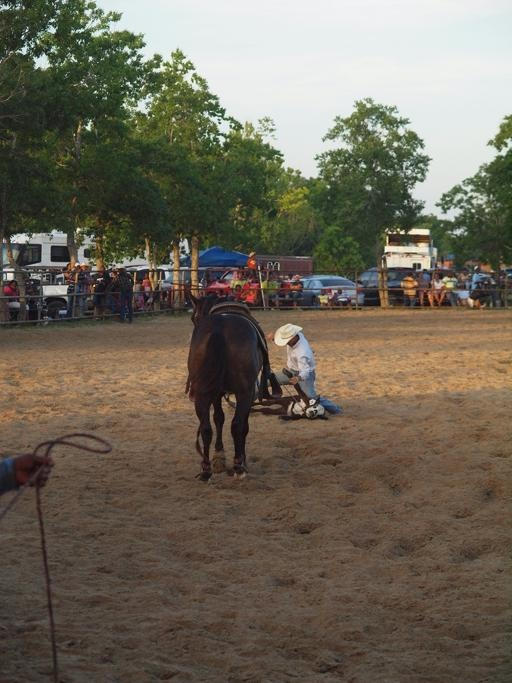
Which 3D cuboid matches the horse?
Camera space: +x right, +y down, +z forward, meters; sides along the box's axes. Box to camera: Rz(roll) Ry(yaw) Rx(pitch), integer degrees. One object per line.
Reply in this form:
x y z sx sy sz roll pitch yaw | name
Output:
-0.235 0.413 7.629 0.704 1.402 1.344 0 8 -2 | horse

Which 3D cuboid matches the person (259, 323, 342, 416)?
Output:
0.386 0.340 9.741 0.890 1.151 0.516 10 40 22 | person

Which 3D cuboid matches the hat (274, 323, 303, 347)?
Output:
0.347 -0.052 9.441 0.255 0.099 0.229 -41 36 -16 | hat
